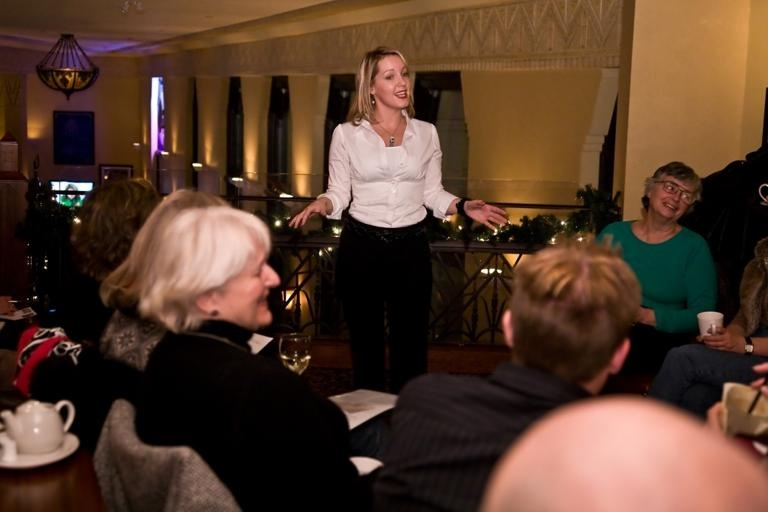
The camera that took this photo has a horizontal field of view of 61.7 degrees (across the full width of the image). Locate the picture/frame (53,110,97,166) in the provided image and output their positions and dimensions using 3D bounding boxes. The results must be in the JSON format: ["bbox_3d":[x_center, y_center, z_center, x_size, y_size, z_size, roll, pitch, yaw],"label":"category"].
[{"bbox_3d":[-5.501,-2.106,11.407,0.938,1.320,0.129,0,3,-19],"label":"picture/frame"}]

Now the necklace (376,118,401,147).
[{"bbox_3d":[0.039,-0.542,2.818,0.111,0.116,0.034,-6,1,-9],"label":"necklace"}]

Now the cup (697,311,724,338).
[{"bbox_3d":[1.363,0.285,2.713,0.075,0.113,0.119,3,14,19],"label":"cup"}]

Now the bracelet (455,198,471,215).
[{"bbox_3d":[0.356,-0.224,2.968,0.072,0.084,0.051,0,3,-31],"label":"bracelet"}]

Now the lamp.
[{"bbox_3d":[-4.207,-2.508,8.595,0.688,0.816,0.791,-11,15,-41],"label":"lamp"}]

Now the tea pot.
[{"bbox_3d":[-0.916,0.462,1.738,0.166,0.128,0.122,5,-9,-20],"label":"tea pot"}]

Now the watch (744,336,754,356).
[{"bbox_3d":[1.541,0.393,2.719,0.038,0.068,0.060,0,8,10],"label":"watch"}]
